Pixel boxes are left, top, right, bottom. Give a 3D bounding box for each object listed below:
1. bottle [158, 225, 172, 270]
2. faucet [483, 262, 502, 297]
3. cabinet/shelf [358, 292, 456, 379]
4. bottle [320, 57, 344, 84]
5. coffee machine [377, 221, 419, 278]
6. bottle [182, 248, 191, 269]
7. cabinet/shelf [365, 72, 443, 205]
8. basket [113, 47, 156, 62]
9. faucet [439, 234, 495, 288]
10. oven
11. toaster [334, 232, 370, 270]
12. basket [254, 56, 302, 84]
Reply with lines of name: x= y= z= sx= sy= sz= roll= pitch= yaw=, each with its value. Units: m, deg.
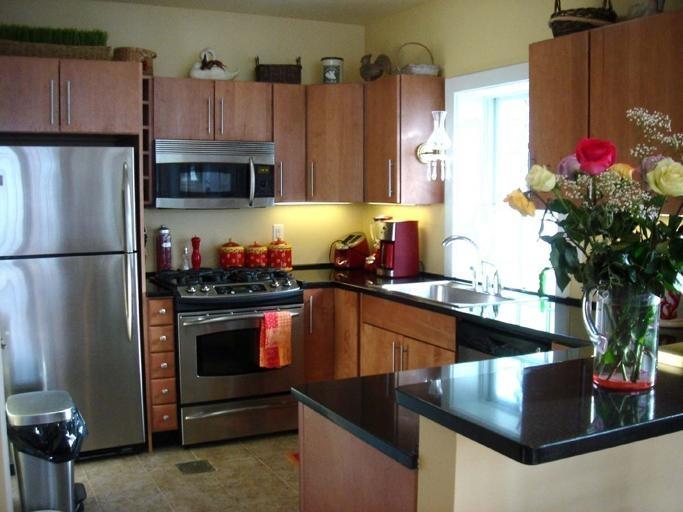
bottle: x=-1.281 y=-0.054 z=4.364 sx=0.109 sy=0.318 sz=0.092 roll=0 pitch=4 yaw=-9
faucet: x=0.932 y=0.134 z=3.780 sx=0.122 sy=0.205 sz=0.295 roll=1 pitch=4 yaw=4
cabinet/shelf: x=0.378 y=0.453 z=3.477 sx=0.201 sy=0.469 sz=0.533 roll=-1 pitch=3 yaw=-32
bottle: x=-0.063 y=-1.378 z=4.598 sx=0.200 sy=0.208 sz=0.217 roll=-1 pitch=7 yaw=-3
coffee machine: x=0.417 y=-0.050 z=4.388 sx=0.291 sy=0.410 sz=0.135 roll=1 pitch=4 yaw=-1
bottle: x=-1.144 y=0.012 z=4.479 sx=0.070 sy=0.171 sz=0.102 roll=0 pitch=4 yaw=-7
cabinet/shelf: x=0.435 y=-0.815 z=4.273 sx=0.582 sy=0.883 sz=0.310 roll=1 pitch=4 yaw=10
basket: x=-1.341 y=-1.296 z=3.901 sx=0.184 sy=0.068 sz=0.166 roll=0 pitch=8 yaw=-5
faucet: x=0.861 y=0.043 z=3.973 sx=0.282 sy=0.349 sz=0.612 roll=1 pitch=4 yaw=4
oven: x=-0.786 y=0.669 z=4.334 sx=1.086 sy=1.184 sz=0.822 roll=-2 pitch=1 yaw=-23
toaster: x=0.082 y=-0.046 z=4.841 sx=0.275 sy=0.278 sz=0.233 roll=1 pitch=6 yaw=-31
basket: x=-0.461 y=-1.341 z=4.469 sx=0.341 sy=0.236 sz=0.253 roll=-1 pitch=2 yaw=-21
